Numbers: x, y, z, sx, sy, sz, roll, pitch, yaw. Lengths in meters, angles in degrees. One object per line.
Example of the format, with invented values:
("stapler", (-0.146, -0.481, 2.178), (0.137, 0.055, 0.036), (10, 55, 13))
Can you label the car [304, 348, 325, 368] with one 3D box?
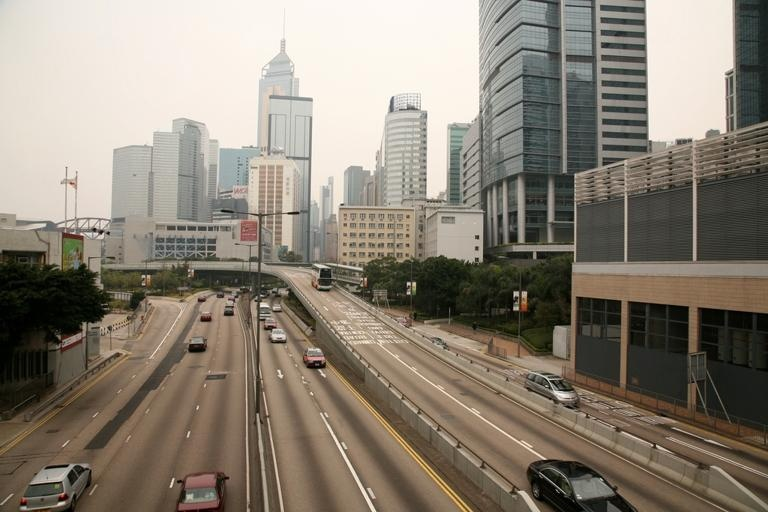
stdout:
("car", (-8.842, 12.898, 94.715), (2.584, 1.692, 2.588), (-1, 0, -6))

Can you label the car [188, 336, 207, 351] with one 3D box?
("car", (-25.090, 11.889, 101.246), (2.205, 1.540, 1.770), (-1, 0, -20))
